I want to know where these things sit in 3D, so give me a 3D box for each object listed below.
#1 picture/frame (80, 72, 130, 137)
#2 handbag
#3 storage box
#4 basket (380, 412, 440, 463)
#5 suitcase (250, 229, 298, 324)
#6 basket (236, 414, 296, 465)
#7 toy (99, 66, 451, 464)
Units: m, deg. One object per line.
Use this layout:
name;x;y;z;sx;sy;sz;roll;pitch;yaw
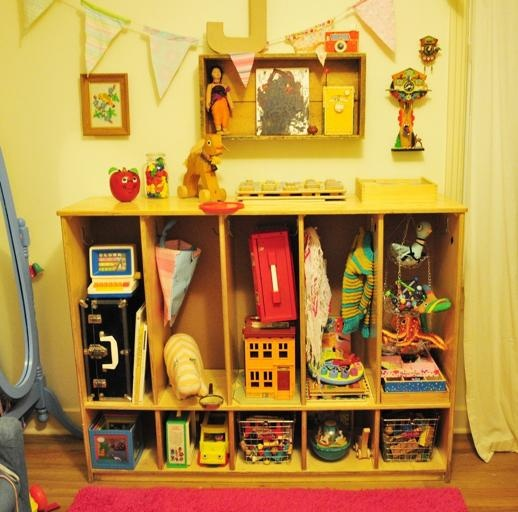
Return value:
picture/frame;-0.612;-0.605;2.059;0.177;0.268;0.021;-9;43;-25
handbag;-0.320;0.086;2.071;0.171;0.466;0.238;-4;13;-12
storage box;-0.578;0.740;2.081;0.161;0.203;0.181;0;-1;-1
basket;0.596;0.725;2.049;0.231;0.226;0.172;1;17;3
suitcase;0.075;0.090;2.093;0.153;0.363;0.342;-6;-1;6
basket;0.033;0.731;2.053;0.244;0.232;0.163;0;7;2
toy;0.078;0.010;2.014;1.156;0.978;0.423;-1;8;-1
